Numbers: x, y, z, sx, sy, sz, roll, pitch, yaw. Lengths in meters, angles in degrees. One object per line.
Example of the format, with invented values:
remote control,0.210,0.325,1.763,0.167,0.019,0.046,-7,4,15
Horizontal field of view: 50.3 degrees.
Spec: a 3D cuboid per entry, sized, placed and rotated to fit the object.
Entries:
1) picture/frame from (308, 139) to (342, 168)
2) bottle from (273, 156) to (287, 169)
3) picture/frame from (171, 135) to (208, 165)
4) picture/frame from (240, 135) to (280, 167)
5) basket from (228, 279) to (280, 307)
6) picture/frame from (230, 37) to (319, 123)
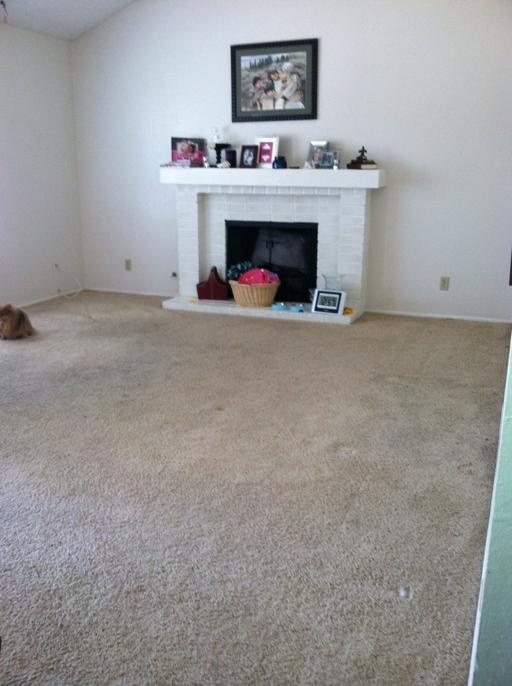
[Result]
picture/frame,0.495,-1.377,3.974,0.242,0.205,0.216,2,14,4
bottle,0.150,-1.344,4.064,0.123,0.123,0.074,-5,18,-13
picture/frame,-0.528,-1.558,4.384,0.286,0.258,0.103,1,0,10
picture/frame,0.019,-1.464,4.164,0.294,0.233,0.186,3,14,9
basket,-0.023,-0.368,4.167,0.242,0.124,0.251,4,17,13
picture/frame,0.157,-1.989,4.066,0.642,0.525,0.026,3,16,17
